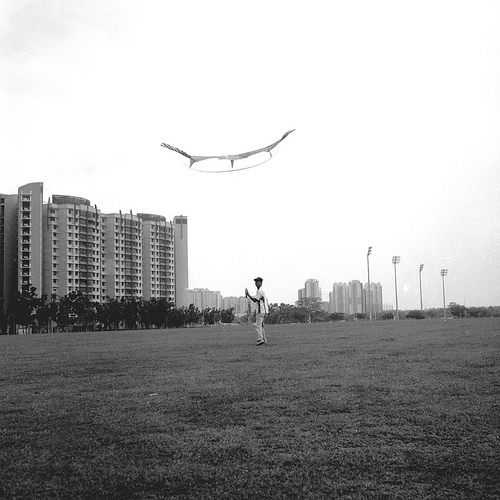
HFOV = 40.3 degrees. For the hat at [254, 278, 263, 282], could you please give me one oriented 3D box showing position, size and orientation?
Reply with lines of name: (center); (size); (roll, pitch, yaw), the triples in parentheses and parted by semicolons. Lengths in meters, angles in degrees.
hat: (0.127, 0.497, 11.382); (0.092, 0.062, 0.071); (-6, -6, 24)
